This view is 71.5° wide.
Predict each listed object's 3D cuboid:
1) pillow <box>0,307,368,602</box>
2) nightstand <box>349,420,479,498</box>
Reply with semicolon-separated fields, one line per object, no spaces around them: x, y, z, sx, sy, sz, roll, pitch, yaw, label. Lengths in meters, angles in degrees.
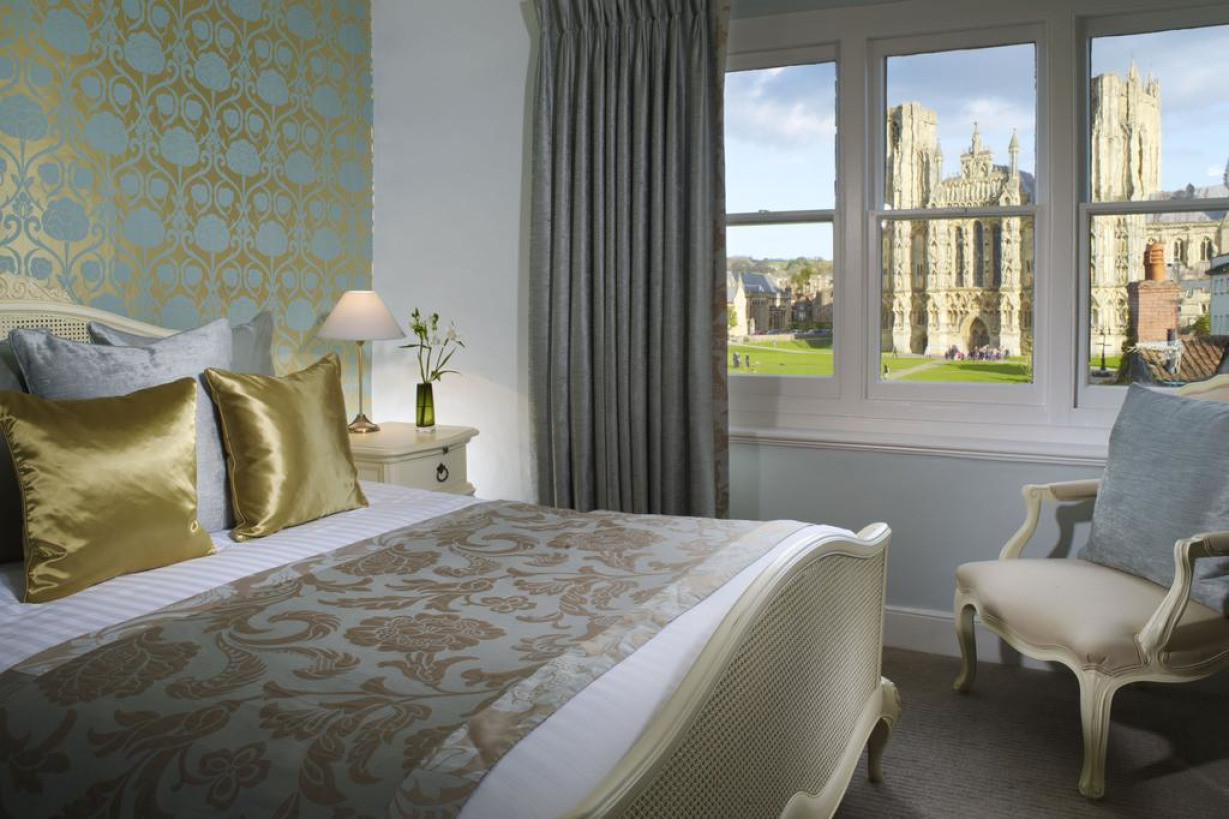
-1.358;0.159;2.656;0.183;0.563;0.951;-28;-10;30;pillow
-0.939;0.190;3.894;0.381;0.380;0.410;2;4;27;nightstand
